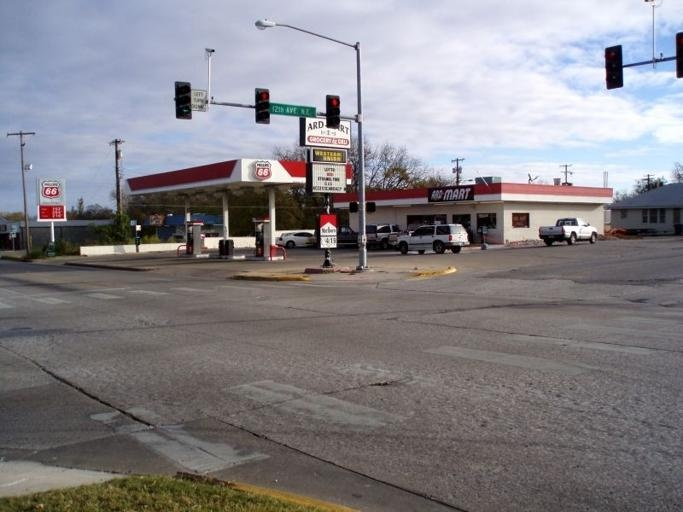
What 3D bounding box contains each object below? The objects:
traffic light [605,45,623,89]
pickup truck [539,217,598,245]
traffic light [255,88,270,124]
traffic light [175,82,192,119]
[{"bbox_3d":[8.990,-6.212,21.891,0.496,1.379,0.461,0,6,17],"label":"traffic light"},{"bbox_3d":[15.243,-1.600,44.645,3.948,1.569,1.932,-5,5,-37],"label":"pickup truck"},{"bbox_3d":[-2.685,-5.124,22.635,0.466,1.150,0.526,-3,6,-10],"label":"traffic light"},{"bbox_3d":[-4.984,-4.993,21.094,0.461,0.972,0.514,-11,-4,35],"label":"traffic light"}]
